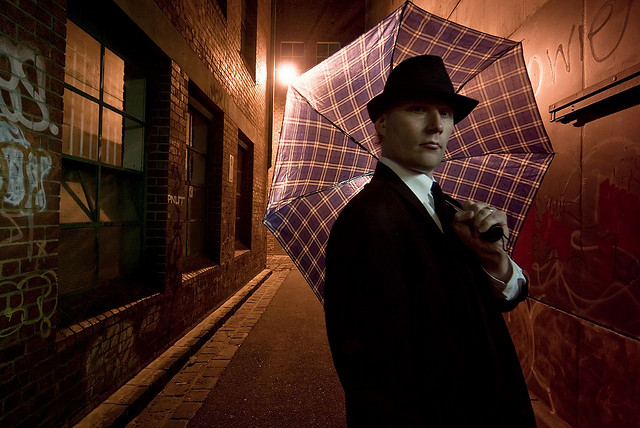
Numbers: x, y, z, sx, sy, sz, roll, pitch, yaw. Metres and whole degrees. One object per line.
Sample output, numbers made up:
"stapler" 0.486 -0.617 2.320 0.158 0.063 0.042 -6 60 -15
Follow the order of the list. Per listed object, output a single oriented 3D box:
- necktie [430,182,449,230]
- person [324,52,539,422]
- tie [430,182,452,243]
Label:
"necktie" 0.842 -0.076 3.015 0.132 0.279 0.052 -4 -7 7
"person" 0.732 0.114 2.908 1.372 2.412 0.654 2 6 -12
"tie" 0.864 -0.013 3.060 0.106 0.414 0.067 -7 -11 6
